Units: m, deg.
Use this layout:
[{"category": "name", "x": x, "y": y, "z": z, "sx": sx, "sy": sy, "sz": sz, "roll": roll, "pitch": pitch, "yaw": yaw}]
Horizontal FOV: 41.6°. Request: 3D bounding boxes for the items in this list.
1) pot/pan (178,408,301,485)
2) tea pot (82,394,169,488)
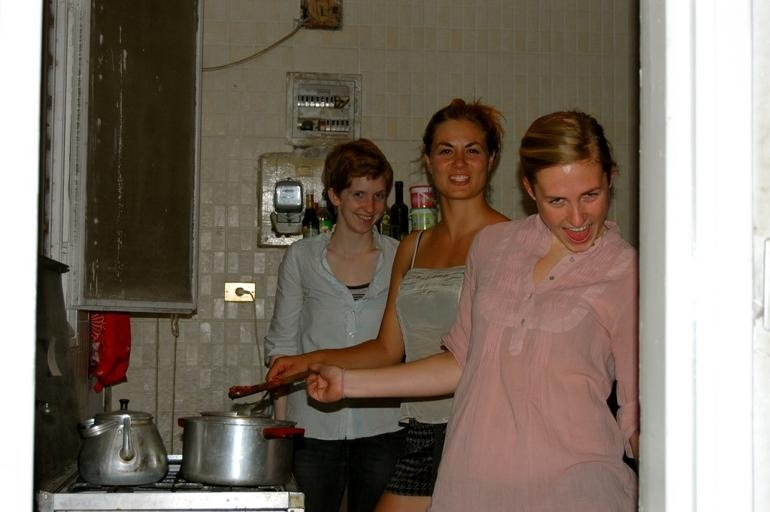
[{"category": "pot/pan", "x": -0.358, "y": 0.427, "z": 2.589, "sx": 0.242, "sy": 0.122, "sz": 0.187, "roll": 1, "pitch": -4, "yaw": 25}, {"category": "tea pot", "x": -0.640, "y": 0.449, "z": 2.466, "sx": 0.148, "sy": 0.158, "sz": 0.210, "roll": 1, "pitch": -13, "yaw": -10}]
